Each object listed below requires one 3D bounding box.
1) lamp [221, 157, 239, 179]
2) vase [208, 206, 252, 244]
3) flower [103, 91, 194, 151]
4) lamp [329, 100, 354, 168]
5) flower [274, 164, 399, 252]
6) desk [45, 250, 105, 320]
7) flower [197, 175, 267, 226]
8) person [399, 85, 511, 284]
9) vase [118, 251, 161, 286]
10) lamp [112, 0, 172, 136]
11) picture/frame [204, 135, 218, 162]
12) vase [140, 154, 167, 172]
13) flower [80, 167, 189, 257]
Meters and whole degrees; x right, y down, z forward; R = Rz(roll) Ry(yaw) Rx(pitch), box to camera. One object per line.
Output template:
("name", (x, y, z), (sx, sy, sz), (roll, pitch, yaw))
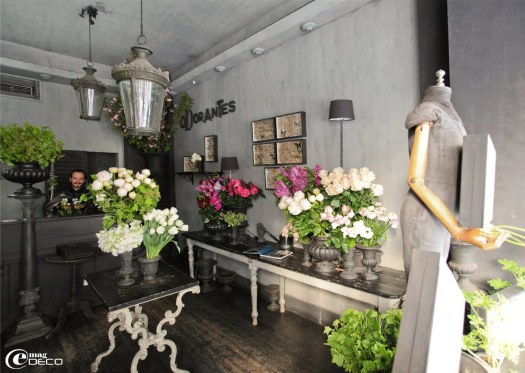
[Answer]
("lamp", (-0.463, -0.281, 5.359), (0.304, 0.434, 0.297), (1, 6, -4))
("vase", (-0.478, 0.521, 5.077), (0.581, 0.376, 0.415), (0, -5, 7))
("flower", (-2.089, -1.337, 6.602), (1.002, 0.708, 1.063), (2, 2, 22))
("lamp", (0.889, -0.590, 4.096), (0.272, 0.754, 0.411), (2, 13, 13))
("flower", (0.711, 0.244, 3.716), (1.223, 0.881, 0.397), (5, 15, 26))
("desk", (-2.306, 1.234, 4.530), (0.662, 0.837, 0.650), (-5, -5, 6))
("flower", (-0.540, 0.123, 5.215), (0.868, 0.747, 0.581), (9, -11, 6))
("person", (1.258, -0.011, 2.544), (0.459, 1.383, 0.644), (-1, 13, 1))
("vase", (-1.174, 0.731, 3.605), (0.472, 0.389, 0.304), (2, -5, -33))
("lamp", (-0.927, -0.740, 2.806), (0.404, 0.693, 0.255), (-2, 13, -4))
("picture/frame", (-0.833, -0.619, 5.984), (0.147, 0.457, 0.368), (-9, 15, -28))
("vase", (-2.100, -0.467, 7.117), (0.394, 0.400, 0.408), (1, 0, -9))
("flower", (-1.230, 0.234, 3.821), (0.946, 1.034, 0.888), (-7, 3, -12))
